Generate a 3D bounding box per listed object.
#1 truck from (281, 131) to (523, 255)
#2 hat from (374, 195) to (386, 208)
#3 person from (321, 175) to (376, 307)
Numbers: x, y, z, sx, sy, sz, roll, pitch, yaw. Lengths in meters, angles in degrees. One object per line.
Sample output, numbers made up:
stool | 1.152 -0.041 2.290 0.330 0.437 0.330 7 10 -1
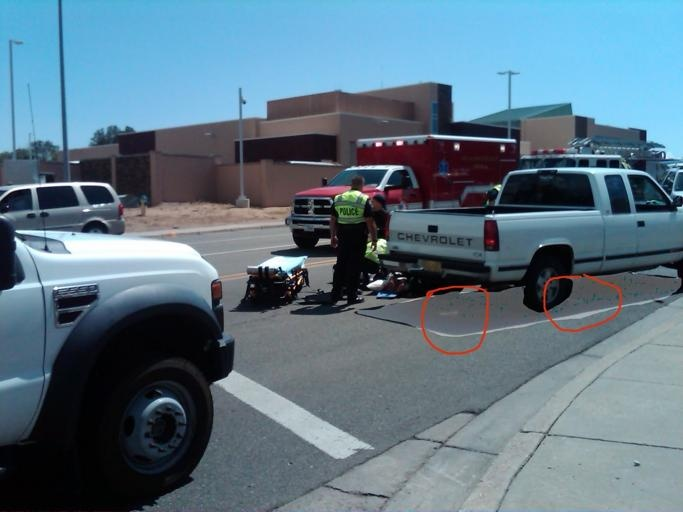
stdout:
truck | 1.896 -2.260 16.900 5.512 2.875 3.511 -1 1 -36
hat | 0.706 -1.011 10.631 0.230 0.259 0.180 -5 4 15
person | 0.182 -0.129 9.543 0.740 1.847 0.401 -1 8 1
